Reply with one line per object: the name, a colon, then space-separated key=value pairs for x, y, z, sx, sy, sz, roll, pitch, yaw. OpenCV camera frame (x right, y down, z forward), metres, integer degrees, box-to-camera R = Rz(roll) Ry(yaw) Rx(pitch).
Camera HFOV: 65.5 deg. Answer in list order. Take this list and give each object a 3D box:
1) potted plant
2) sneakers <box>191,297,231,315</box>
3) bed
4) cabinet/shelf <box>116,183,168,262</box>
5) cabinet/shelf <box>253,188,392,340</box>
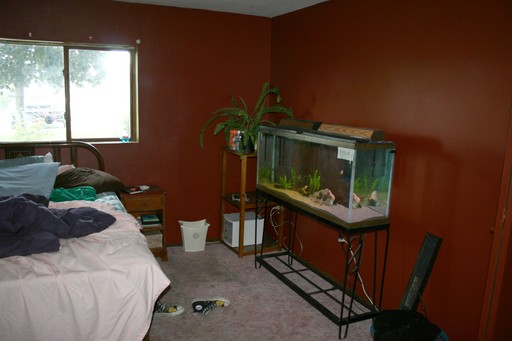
potted plant: x=-0.156 y=-0.692 z=5.145 sx=1.160 sy=0.849 sz=0.797 roll=-1 pitch=10 yaw=-7
sneakers: x=-0.460 y=1.350 z=4.035 sx=0.388 sy=0.148 sz=0.168 roll=-4 pitch=18 yaw=-4
bed: x=-2.453 y=0.641 z=5.030 sx=1.905 sy=1.148 sz=1.938 roll=-1 pitch=5 yaw=-22
cabinet/shelf: x=-1.244 y=0.688 z=5.050 sx=0.526 sy=0.835 sz=0.521 roll=-10 pitch=-3 yaw=25
cabinet/shelf: x=0.710 y=0.997 z=4.112 sx=0.433 sy=0.906 sz=1.255 roll=-1 pitch=9 yaw=-23
